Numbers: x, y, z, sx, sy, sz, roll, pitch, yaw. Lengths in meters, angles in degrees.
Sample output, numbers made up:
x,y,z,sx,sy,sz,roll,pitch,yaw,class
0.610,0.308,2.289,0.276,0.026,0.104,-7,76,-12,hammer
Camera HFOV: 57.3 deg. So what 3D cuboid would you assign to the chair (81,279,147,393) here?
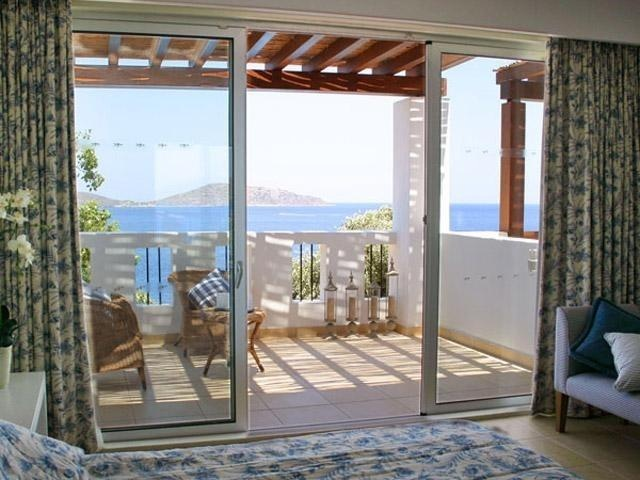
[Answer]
x,y,z,sx,sy,sz,roll,pitch,yaw,class
-1.448,0.655,4.055,0.551,0.588,0.533,-1,-4,-4,chair
